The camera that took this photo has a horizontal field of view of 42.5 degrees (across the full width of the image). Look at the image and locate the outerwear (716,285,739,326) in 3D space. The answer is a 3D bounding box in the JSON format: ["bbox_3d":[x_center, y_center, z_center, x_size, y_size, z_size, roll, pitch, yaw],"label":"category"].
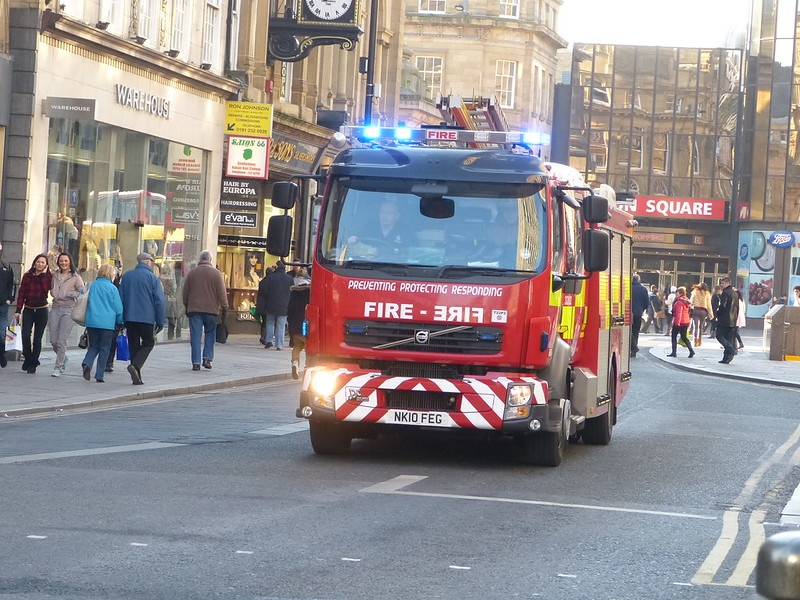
[{"bbox_3d":[9.842,0.190,31.100,0.496,1.197,0.852,1,1,23],"label":"outerwear"}]

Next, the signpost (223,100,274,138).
[{"bbox_3d":[-4.113,-4.873,27.932,0.946,0.768,0.139,2,2,15],"label":"signpost"}]

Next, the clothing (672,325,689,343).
[{"bbox_3d":[8.978,1.063,32.995,0.275,0.590,0.563,-2,15,10],"label":"clothing"}]

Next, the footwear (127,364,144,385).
[{"bbox_3d":[-4.273,1.213,16.722,0.144,0.492,0.190,-7,9,1],"label":"footwear"}]

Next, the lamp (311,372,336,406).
[{"bbox_3d":[-0.749,0.905,10.469,0.262,0.367,0.093,1,1,26],"label":"lamp"}]

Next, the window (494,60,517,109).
[{"bbox_3d":[7.216,-14.846,71.110,1.523,3.365,0.124,3,-7,-8],"label":"window"}]

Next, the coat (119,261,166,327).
[{"bbox_3d":[-4.329,-0.040,17.274,0.792,1.159,0.409,3,-23,-9],"label":"coat"}]

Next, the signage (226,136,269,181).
[{"bbox_3d":[-4.054,-3.849,27.765,1.045,1.111,0.111,0,-6,0],"label":"signage"}]

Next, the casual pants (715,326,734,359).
[{"bbox_3d":[9.742,1.266,30.788,0.501,0.956,1.408,1,1,17],"label":"casual pants"}]

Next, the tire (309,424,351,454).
[{"bbox_3d":[-0.741,1.485,11.152,0.324,0.357,0.123,3,-9,-37],"label":"tire"}]

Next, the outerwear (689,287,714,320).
[{"bbox_3d":[11.176,0.033,38.817,1.183,1.302,0.463,-4,8,-35],"label":"outerwear"}]

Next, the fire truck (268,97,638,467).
[{"bbox_3d":[1.116,0.029,12.903,2.271,2.899,5.353,1,-5,11],"label":"fire truck"}]

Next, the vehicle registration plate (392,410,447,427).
[{"bbox_3d":[0.207,1.173,10.270,0.515,0.155,0.025,1,1,9],"label":"vehicle registration plate"}]

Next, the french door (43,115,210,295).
[{"bbox_3d":[-6.447,-2.253,24.727,0.790,3.598,5.892,4,0,29],"label":"french door"}]

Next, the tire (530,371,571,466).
[{"bbox_3d":[1.547,1.206,10.696,0.254,0.896,0.840,3,12,18],"label":"tire"}]

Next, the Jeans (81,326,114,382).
[{"bbox_3d":[-4.972,0.878,17.108,0.463,0.868,0.988,0,1,-17],"label":"Jeans"}]

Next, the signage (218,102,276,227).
[{"bbox_3d":[-4.103,-3.646,27.951,1.392,3.482,0.344,4,-9,-1],"label":"signage"}]

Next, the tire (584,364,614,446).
[{"bbox_3d":[2.399,1.271,12.499,0.273,0.966,0.905,0,9,13],"label":"tire"}]

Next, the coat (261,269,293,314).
[{"bbox_3d":[-2.926,-0.174,24.813,0.928,1.166,0.596,2,2,-16],"label":"coat"}]

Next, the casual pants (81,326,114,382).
[{"bbox_3d":[-4.921,0.772,16.890,0.376,1.156,0.407,5,-12,-2],"label":"casual pants"}]

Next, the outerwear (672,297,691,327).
[{"bbox_3d":[8.935,0.373,32.697,0.675,0.913,0.355,0,1,-25],"label":"outerwear"}]

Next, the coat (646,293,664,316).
[{"bbox_3d":[10.920,0.207,44.153,0.956,1.062,0.258,8,-6,-38],"label":"coat"}]
